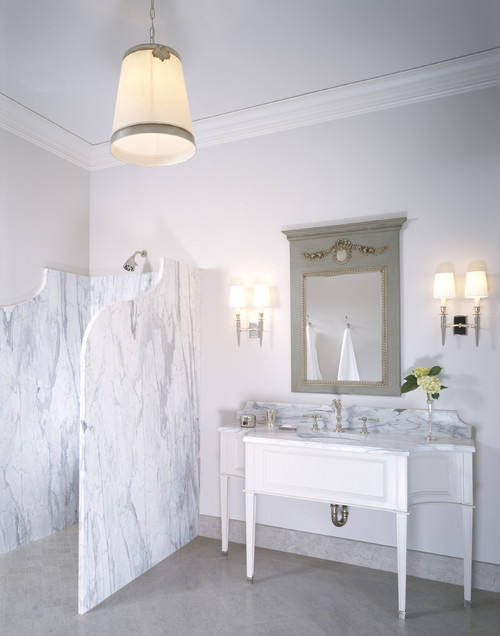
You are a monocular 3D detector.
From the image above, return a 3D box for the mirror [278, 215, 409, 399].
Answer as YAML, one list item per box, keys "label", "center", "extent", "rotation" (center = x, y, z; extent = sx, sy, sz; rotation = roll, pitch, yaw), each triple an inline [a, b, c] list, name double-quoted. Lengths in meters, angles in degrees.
- label: "mirror"
  center: [0.621, -0.060, 3.483]
  extent: [1.043, 1.534, 0.118]
  rotation: [-3, -7, 26]

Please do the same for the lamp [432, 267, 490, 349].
- label: "lamp"
  center: [1.182, -0.057, 3.120]
  extent: [0.270, 0.482, 0.155]
  rotation: [0, -9, 23]

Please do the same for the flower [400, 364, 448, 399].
- label: "flower"
  center: [0.972, 0.342, 3.113]
  extent: [0.186, 0.132, 0.212]
  rotation: [-11, 12, -33]

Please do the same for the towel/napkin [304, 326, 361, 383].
- label: "towel/napkin"
  center: [0.535, 0.236, 3.507]
  extent: [0.315, 0.346, 0.058]
  rotation: [-3, -5, 22]

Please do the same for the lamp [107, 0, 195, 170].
- label: "lamp"
  center: [-0.402, -1.059, 2.336]
  extent: [0.349, 0.789, 0.415]
  rotation: [0, -2, -13]

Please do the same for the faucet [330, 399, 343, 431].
- label: "faucet"
  center: [0.530, 0.589, 3.380]
  extent: [0.056, 0.186, 0.220]
  rotation: [-1, -3, 9]

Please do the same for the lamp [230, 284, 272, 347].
- label: "lamp"
  center: [0.007, 0.003, 3.785]
  extent: [0.274, 0.416, 0.139]
  rotation: [-1, 0, -13]
